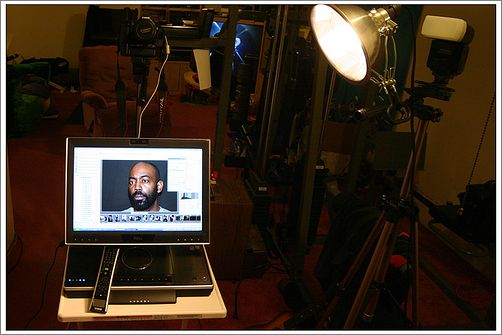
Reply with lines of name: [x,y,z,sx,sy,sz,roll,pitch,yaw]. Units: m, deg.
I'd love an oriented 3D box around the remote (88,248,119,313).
remote: [-0.759,0.580,1.969,0.081,0.291,0.033,6,-38,1]

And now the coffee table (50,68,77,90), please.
coffee table: [-3.673,-1.800,7.634,0.403,0.511,0.540,1,3,-27]

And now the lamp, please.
lamp: [0.610,-0.624,2.259,0.930,0.785,0.579,-7,15,-14]

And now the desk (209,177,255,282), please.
desk: [-0.172,0.546,3.188,0.442,0.788,0.562,4,40,-6]

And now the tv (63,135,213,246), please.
tv: [-0.636,0.132,2.100,0.644,0.457,0.068,1,0,-2]

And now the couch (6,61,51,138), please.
couch: [-3.293,-1.073,5.609,0.568,1.289,1.745,1,3,-27]

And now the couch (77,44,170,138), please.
couch: [-1.974,-1.122,5.730,1.117,1.335,1.859,1,3,-23]
